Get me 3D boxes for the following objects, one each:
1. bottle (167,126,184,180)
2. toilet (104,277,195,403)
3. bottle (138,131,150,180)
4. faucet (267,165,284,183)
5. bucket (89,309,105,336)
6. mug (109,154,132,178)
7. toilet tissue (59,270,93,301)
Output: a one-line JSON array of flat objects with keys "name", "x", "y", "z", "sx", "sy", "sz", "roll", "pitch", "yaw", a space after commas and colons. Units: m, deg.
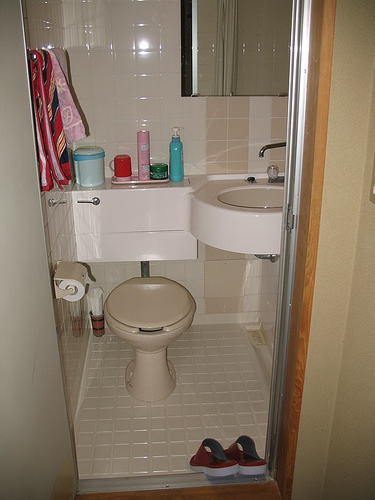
[{"name": "bottle", "x": -0.050, "y": -0.446, "z": 1.759, "sx": 0.076, "sy": 0.224, "sz": 0.126, "roll": -3, "pitch": 20, "yaw": -2}, {"name": "toilet", "x": -0.151, "y": 0.380, "z": 1.799, "sx": 0.372, "sy": 0.482, "sz": 0.479, "roll": -1, "pitch": 28, "yaw": -4}, {"name": "bottle", "x": -0.193, "y": -0.415, "z": 1.693, "sx": 0.054, "sy": 0.200, "sz": 0.033, "roll": -4, "pitch": 19, "yaw": -6}, {"name": "faucet", "x": 0.400, "y": -0.352, "z": 1.742, "sx": 0.065, "sy": 0.075, "sz": 0.115, "roll": 3, "pitch": 22, "yaw": 14}, {"name": "bucket", "x": -0.482, "y": 0.391, "z": 2.078, "sx": 0.069, "sy": 0.187, "sz": 0.098, "roll": -8, "pitch": 21, "yaw": -15}, {"name": "mug", "x": -0.285, "y": -0.372, "z": 1.685, "sx": 0.107, "sy": 0.121, "sz": 0.074, "roll": 3, "pitch": 21, "yaw": 14}, {"name": "toilet tissue", "x": -0.303, "y": 0.091, "z": 1.057, "sx": 0.084, "sy": 0.079, "sz": 0.027, "roll": -14, "pitch": 18, "yaw": -13}]
